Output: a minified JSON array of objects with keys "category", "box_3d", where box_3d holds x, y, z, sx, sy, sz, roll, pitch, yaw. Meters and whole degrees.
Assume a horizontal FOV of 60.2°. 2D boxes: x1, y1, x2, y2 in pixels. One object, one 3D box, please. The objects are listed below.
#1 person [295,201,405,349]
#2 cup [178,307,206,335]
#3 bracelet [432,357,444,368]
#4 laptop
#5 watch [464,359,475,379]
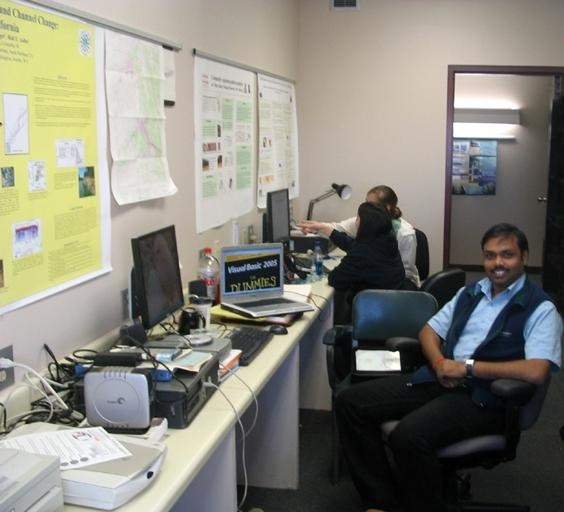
[{"category":"person","box_3d":[0.543,-0.050,3.419,0.722,1.112,0.460,4,3,15]},{"category":"cup","box_3d":[-0.364,0.275,2.049,0.111,0.133,0.072,2,4,10]},{"category":"bracelet","box_3d":[0.663,0.453,2.066,0.028,0.016,0.038,-9,-12,-32]},{"category":"laptop","box_3d":[-0.072,0.002,2.342,0.308,0.392,0.430,7,7,44]},{"category":"watch","box_3d":[0.748,0.450,1.948,0.034,0.071,0.064,1,6,14]}]
